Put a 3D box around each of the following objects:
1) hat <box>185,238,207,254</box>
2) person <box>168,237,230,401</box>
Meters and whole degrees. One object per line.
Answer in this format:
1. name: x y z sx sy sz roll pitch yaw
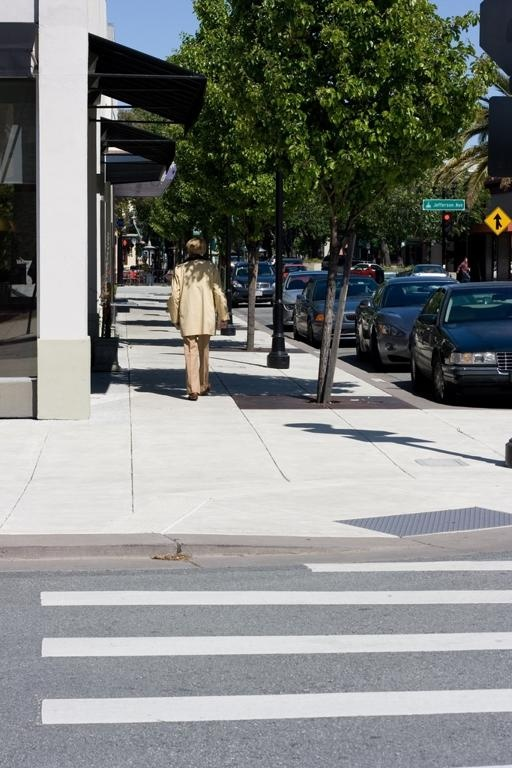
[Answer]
1. hat: -0.789 -1.802 13.121 0.178 0.255 0.240 0 12 -2
2. person: -0.769 -0.838 12.965 0.773 2.075 1.197 3 9 -4
